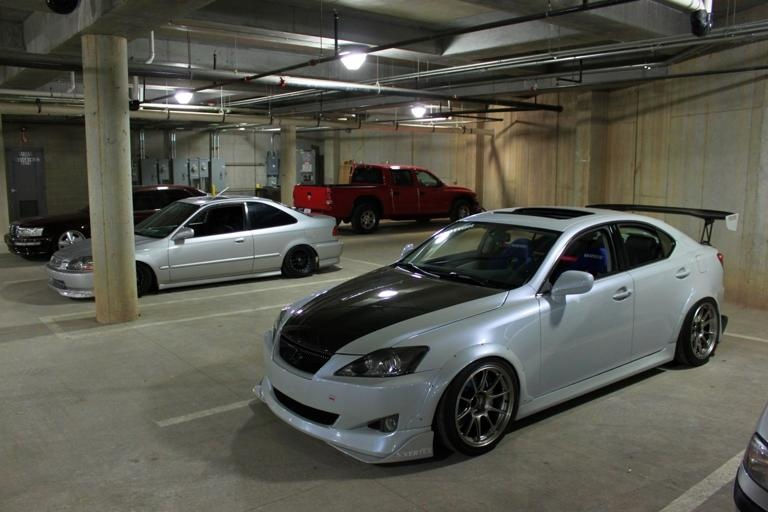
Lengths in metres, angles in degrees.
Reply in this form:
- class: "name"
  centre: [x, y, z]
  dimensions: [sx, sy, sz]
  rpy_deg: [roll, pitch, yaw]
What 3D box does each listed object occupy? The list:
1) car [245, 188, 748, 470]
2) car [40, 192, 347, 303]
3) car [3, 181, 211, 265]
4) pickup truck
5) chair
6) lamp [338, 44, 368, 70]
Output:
- class: "car"
  centre: [1.547, 0.495, 5.454]
  dimensions: [5.279, 1.499, 2.361]
  rpy_deg: [-7, 9, -27]
- class: "car"
  centre: [-3.747, -0.218, 10.170]
  dimensions: [5.708, 1.403, 2.358]
  rpy_deg: [-3, 6, -31]
- class: "car"
  centre: [-8.226, -1.063, 13.490]
  dimensions: [6.172, 1.540, 2.298]
  rpy_deg: [-4, 8, -30]
- class: "pickup truck"
  centre: [0.421, -2.229, 19.196]
  dimensions: [7.538, 2.147, 2.976]
  rpy_deg: [-5, 7, -30]
- class: "chair"
  centre: [2.152, 0.048, 5.281]
  dimensions: [0.911, 0.348, 0.514]
  rpy_deg: [-15, 21, -26]
- class: "lamp"
  centre: [-0.569, -3.701, 8.862]
  dimensions: [0.496, 0.468, 0.940]
  rpy_deg: [-1, 12, -3]
